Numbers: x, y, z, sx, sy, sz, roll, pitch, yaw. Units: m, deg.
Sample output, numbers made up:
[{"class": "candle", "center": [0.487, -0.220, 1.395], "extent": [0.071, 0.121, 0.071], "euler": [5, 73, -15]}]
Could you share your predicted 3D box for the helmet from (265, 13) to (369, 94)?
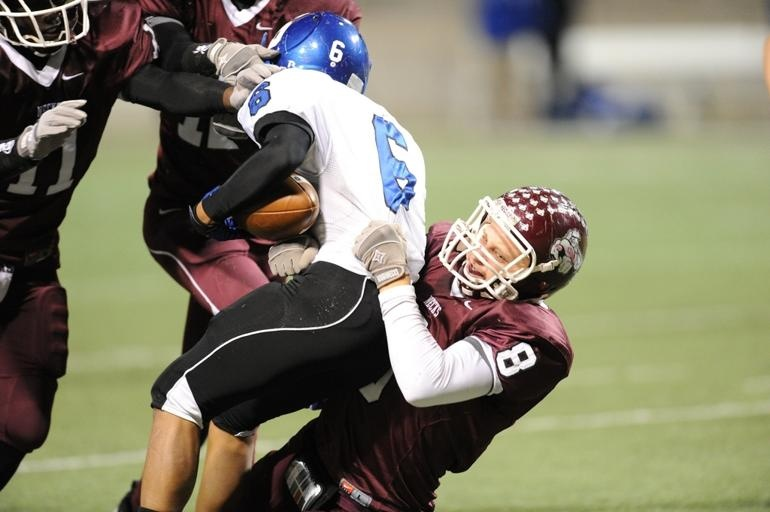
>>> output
[{"class": "helmet", "center": [-0.272, -0.886, 3.875], "extent": [0.411, 0.363, 0.308], "euler": [22, -2, 4]}]

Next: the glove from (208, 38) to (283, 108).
[{"class": "glove", "center": [-0.641, -0.825, 3.799], "extent": [0.267, 0.191, 0.352], "euler": [-38, 57, -20]}]

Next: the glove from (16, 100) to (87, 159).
[{"class": "glove", "center": [-1.416, -0.533, 3.646], "extent": [0.282, 0.258, 0.125], "euler": [-1, 15, -13]}]

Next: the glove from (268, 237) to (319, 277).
[{"class": "glove", "center": [-0.381, 0.011, 3.557], "extent": [0.166, 0.172, 0.073], "euler": [24, 4, 26]}]

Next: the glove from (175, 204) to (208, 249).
[{"class": "glove", "center": [-0.874, -0.123, 3.889], "extent": [0.068, 0.190, 0.079], "euler": [-22, -4, -10]}]

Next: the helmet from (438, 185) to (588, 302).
[{"class": "helmet", "center": [0.545, -0.036, 3.465], "extent": [0.538, 0.436, 0.348], "euler": [-2, -16, -28]}]

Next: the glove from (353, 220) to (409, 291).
[{"class": "glove", "center": [-0.016, -0.008, 3.301], "extent": [0.199, 0.255, 0.108], "euler": [-21, -22, 1]}]

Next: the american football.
[{"class": "american football", "center": [-0.437, -0.208, 3.563], "extent": [0.367, 0.304, 0.294], "euler": [-3, 15, -10]}]
